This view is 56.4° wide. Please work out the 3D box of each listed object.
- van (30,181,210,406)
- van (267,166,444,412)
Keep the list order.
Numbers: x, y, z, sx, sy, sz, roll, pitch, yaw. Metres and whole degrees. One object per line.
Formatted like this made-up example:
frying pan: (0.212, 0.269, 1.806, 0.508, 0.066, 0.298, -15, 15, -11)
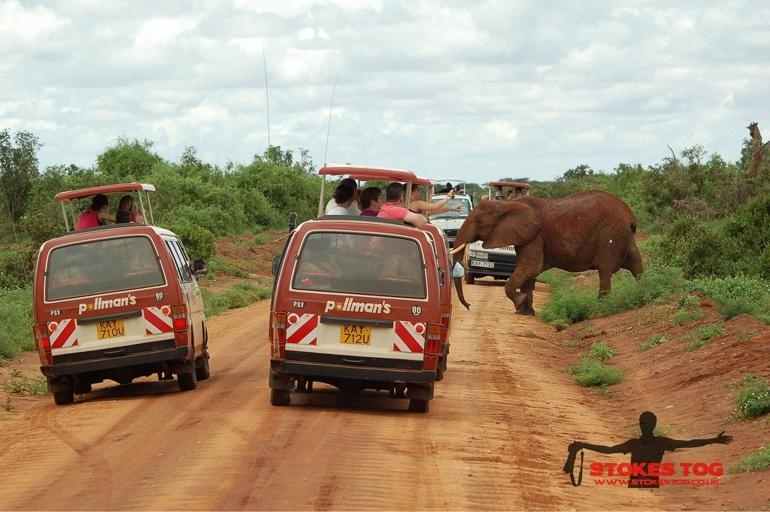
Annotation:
van: (-4.422, 0.916, 12.191, 2.328, 2.971, 2.110, -1, 6, -8)
van: (-0.392, 0.491, 10.971, 2.703, 3.757, 1.975, 0, 6, 1)
